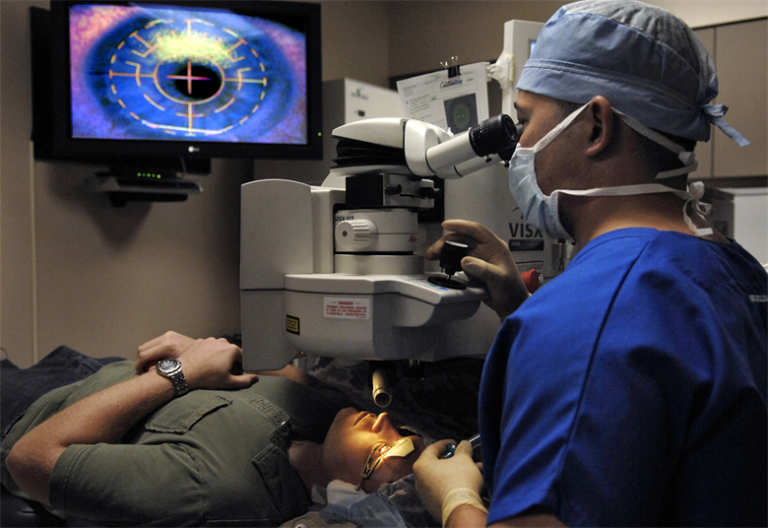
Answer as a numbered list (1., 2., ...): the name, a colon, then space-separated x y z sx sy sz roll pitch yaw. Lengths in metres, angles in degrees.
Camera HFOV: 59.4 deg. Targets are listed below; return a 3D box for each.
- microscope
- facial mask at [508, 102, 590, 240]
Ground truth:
1. microscope: 0.022 -0.020 1.950 0.694 0.810 0.627 4 8 17
2. facial mask: 0.332 -0.191 1.379 0.107 0.232 0.159 8 13 34
